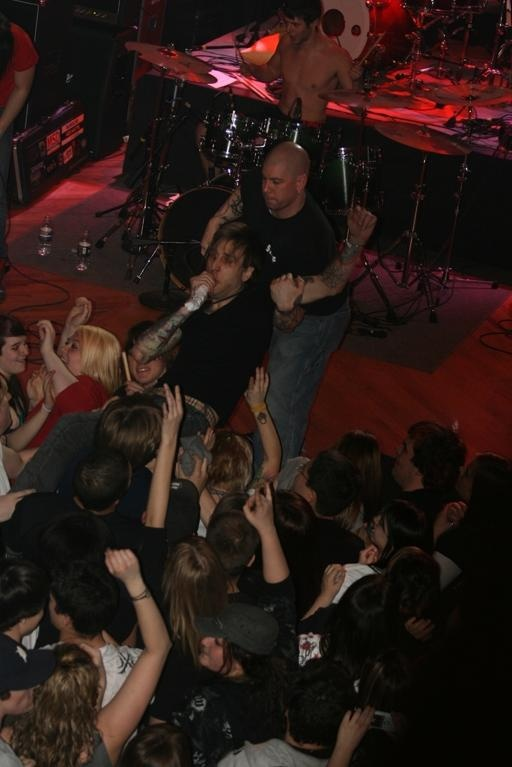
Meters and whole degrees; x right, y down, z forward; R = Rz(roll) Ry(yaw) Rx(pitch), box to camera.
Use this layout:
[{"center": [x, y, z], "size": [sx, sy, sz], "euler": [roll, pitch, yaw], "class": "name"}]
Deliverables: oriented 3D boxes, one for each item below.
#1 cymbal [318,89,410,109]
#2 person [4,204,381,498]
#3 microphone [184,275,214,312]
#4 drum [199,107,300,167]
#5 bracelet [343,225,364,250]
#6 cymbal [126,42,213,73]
[{"center": [1.066, -2.893, 5.959], "size": [0.724, 0.142, 0.697], "euler": [13, 34, 22], "class": "cymbal"}, {"center": [0.030, -0.219, 3.384], "size": [0.677, 1.677, 1.478], "euler": [24, 19, 31], "class": "person"}, {"center": [-0.285, -0.471, 2.976], "size": [0.119, 0.192, 0.053], "euler": [25, -17, 1], "class": "microphone"}, {"center": [-0.199, -2.544, 6.219], "size": [0.824, 0.274, 0.807], "euler": [9, -1, 0], "class": "drum"}, {"center": [0.551, -0.810, 3.301], "size": [0.107, 0.138, 0.045], "euler": [4, 12, 18], "class": "bracelet"}, {"center": [-0.853, -3.397, 6.227], "size": [0.628, 0.117, 0.521], "euler": [8, 14, -39], "class": "cymbal"}]
